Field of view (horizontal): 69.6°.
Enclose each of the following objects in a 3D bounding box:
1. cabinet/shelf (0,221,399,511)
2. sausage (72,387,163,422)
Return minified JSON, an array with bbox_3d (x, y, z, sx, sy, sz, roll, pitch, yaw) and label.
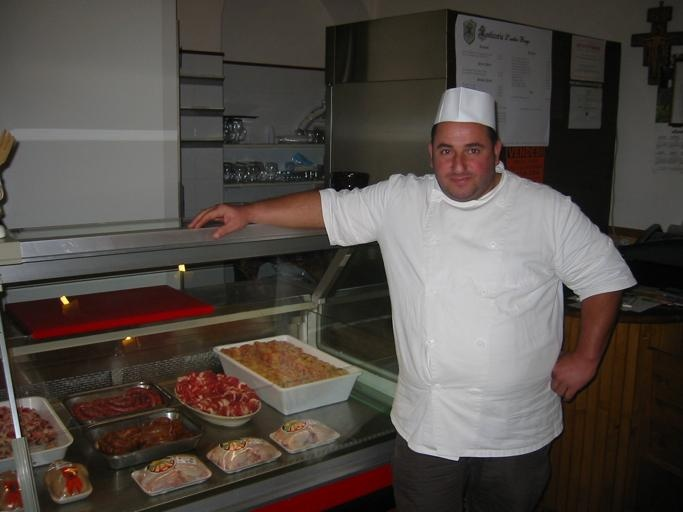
[{"bbox_3d":[-0.616,0.286,1.673,1.330,0.660,0.846,-6,3,-41],"label":"cabinet/shelf"},{"bbox_3d":[-0.606,0.392,1.345,0.141,0.023,0.089,-2,15,-34],"label":"sausage"}]
